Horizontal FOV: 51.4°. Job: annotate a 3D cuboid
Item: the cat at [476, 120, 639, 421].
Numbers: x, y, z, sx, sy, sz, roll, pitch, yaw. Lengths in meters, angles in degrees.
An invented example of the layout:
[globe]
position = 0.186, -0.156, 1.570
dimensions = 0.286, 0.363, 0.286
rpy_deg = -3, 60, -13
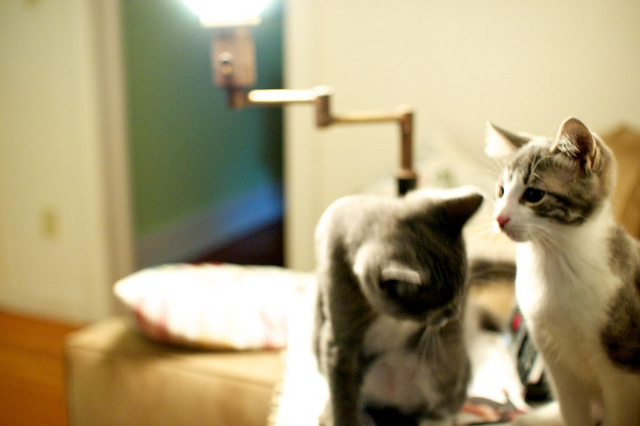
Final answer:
[cat]
position = 0.378, 0.085, 1.047
dimensions = 0.250, 0.449, 0.175
rpy_deg = 4, 20, 13
